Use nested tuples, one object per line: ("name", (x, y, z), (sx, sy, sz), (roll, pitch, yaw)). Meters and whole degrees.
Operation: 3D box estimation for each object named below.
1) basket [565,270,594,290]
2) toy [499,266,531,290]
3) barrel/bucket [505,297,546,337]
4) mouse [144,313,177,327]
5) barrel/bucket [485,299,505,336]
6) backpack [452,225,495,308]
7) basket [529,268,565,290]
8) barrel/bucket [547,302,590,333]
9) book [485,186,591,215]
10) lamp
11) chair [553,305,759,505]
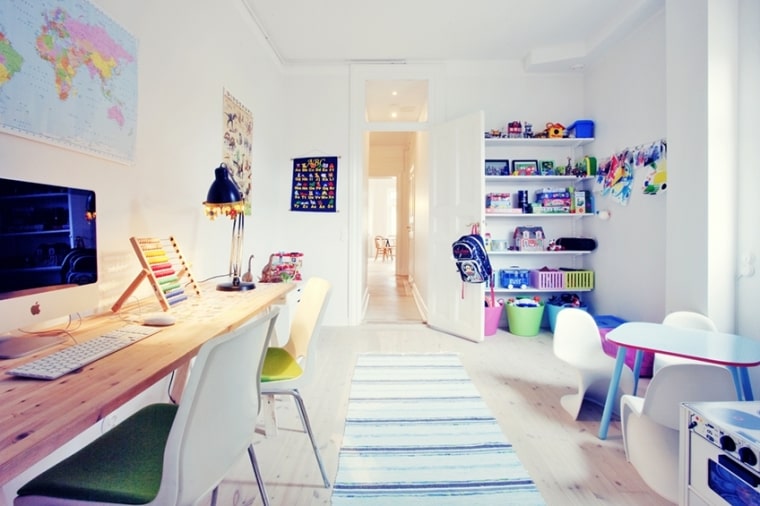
("basket", (2.033, 0.274, 4.860), (0.206, 0.130, 0.211), (2, 5, 15))
("toy", (1.390, 0.261, 4.932), (0.280, 0.225, 0.220), (0, -3, 1))
("barrel/bucket", (1.445, 0.635, 4.776), (0.361, 0.273, 0.342), (1, -4, 0))
("mouse", (-1.215, 0.369, 2.637), (0.112, 0.037, 0.082), (0, 0, 4))
("barrel/bucket", (1.116, 0.677, 4.884), (0.257, 0.285, 0.271), (0, 3, 0))
("backpack", (0.973, 0.176, 4.684), (0.301, 0.781, 0.439), (-21, 22, -35))
("basket", (1.708, 0.272, 4.853), (0.224, 0.146, 0.233), (0, 4, 9))
("barrel/bucket", (1.857, 0.571, 4.782), (0.448, 0.341, 0.482), (1, 2, 0))
("book", (1.615, -0.531, 4.902), (1.036, 0.270, 0.386), (0, 6, 13))
("lamp", (-1.126, -0.180, 3.579), (0.322, 0.916, 0.908), (-3, 6, -19))
("chair", (1.574, 0.839, 2.962), (0.882, 0.770, 0.984), (2, -2, -3))
